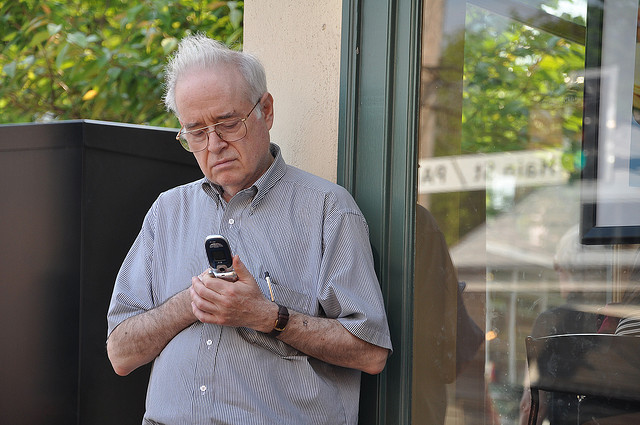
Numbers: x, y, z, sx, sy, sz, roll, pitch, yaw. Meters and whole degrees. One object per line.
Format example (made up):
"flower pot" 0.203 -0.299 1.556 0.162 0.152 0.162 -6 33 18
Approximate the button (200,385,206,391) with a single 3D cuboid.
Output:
"button" -0.513 0.766 3.523 0.017 0.021 0.004 -2 -11 8

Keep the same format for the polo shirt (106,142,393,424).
"polo shirt" -0.274 0.336 3.647 1.075 1.188 0.608 -2 -13 19

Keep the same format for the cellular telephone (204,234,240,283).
"cellular telephone" -0.442 0.201 3.483 0.110 0.058 0.243 -2 40 -22
